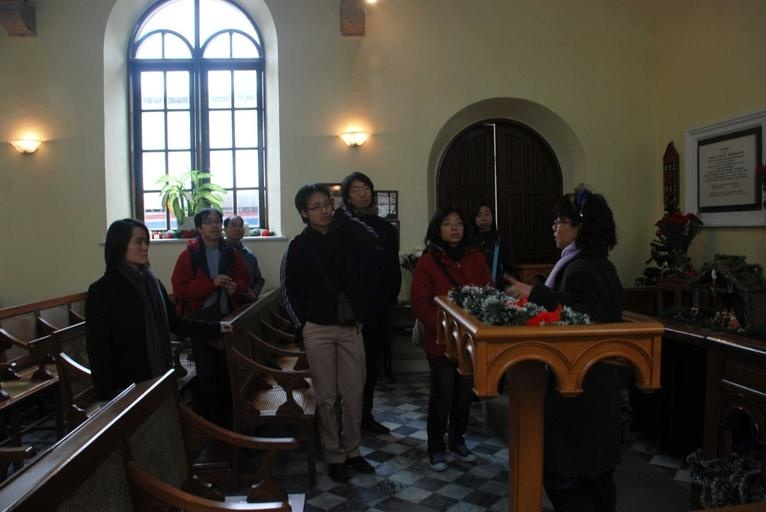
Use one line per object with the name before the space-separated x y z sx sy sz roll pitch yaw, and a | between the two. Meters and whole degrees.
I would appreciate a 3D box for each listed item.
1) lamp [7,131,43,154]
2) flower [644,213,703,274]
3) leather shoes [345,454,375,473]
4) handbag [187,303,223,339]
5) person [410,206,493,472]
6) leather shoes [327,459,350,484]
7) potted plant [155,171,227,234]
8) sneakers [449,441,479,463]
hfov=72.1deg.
lamp | -4.566 -1.426 6.714 0.417 0.285 0.110 0 6 6
flower | 3.257 -0.148 5.894 0.409 0.676 0.517 -6 8 -42
leather shoes | -0.175 1.669 4.255 0.268 0.188 0.105 -3 -2 9
handbag | -1.424 0.558 4.129 0.279 0.288 0.110 -7 -7 -10
person | 0.532 0.669 4.223 0.607 2.083 0.524 -5 7 -36
leather shoes | -0.344 1.674 4.071 0.091 0.091 0.213 1 2 -7
potted plant | -2.641 -0.613 7.199 0.930 0.850 0.944 -2 0 -12
sneakers | 0.670 1.632 4.351 0.105 0.101 0.251 0 -4 -28
